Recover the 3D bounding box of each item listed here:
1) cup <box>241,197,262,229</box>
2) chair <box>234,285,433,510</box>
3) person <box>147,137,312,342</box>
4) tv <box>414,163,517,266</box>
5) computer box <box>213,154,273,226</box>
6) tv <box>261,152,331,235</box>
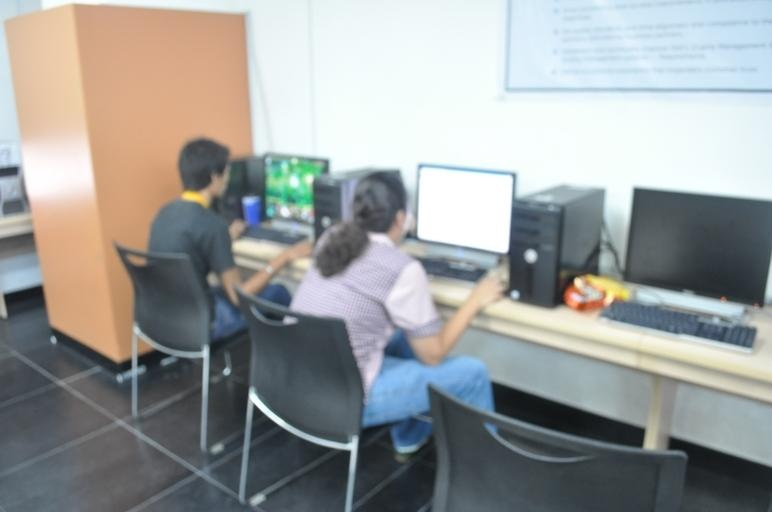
[{"bbox_3d":[-0.868,-0.281,3.594,0.118,0.198,0.121,1,34,-1],"label":"cup"},{"bbox_3d":[-0.387,0.672,2.477,0.635,1.054,0.323,10,21,34],"label":"chair"},{"bbox_3d":[-0.875,-0.078,3.060,0.645,1.272,0.739,26,38,31],"label":"person"},{"bbox_3d":[0.430,-0.216,2.944,0.509,0.378,0.054,10,12,32],"label":"tv"},{"bbox_3d":[-0.892,-0.434,3.739,0.300,0.436,0.286,-14,18,-17],"label":"computer box"},{"bbox_3d":[-0.549,-0.374,3.424,0.509,0.473,0.106,10,16,33],"label":"tv"}]
